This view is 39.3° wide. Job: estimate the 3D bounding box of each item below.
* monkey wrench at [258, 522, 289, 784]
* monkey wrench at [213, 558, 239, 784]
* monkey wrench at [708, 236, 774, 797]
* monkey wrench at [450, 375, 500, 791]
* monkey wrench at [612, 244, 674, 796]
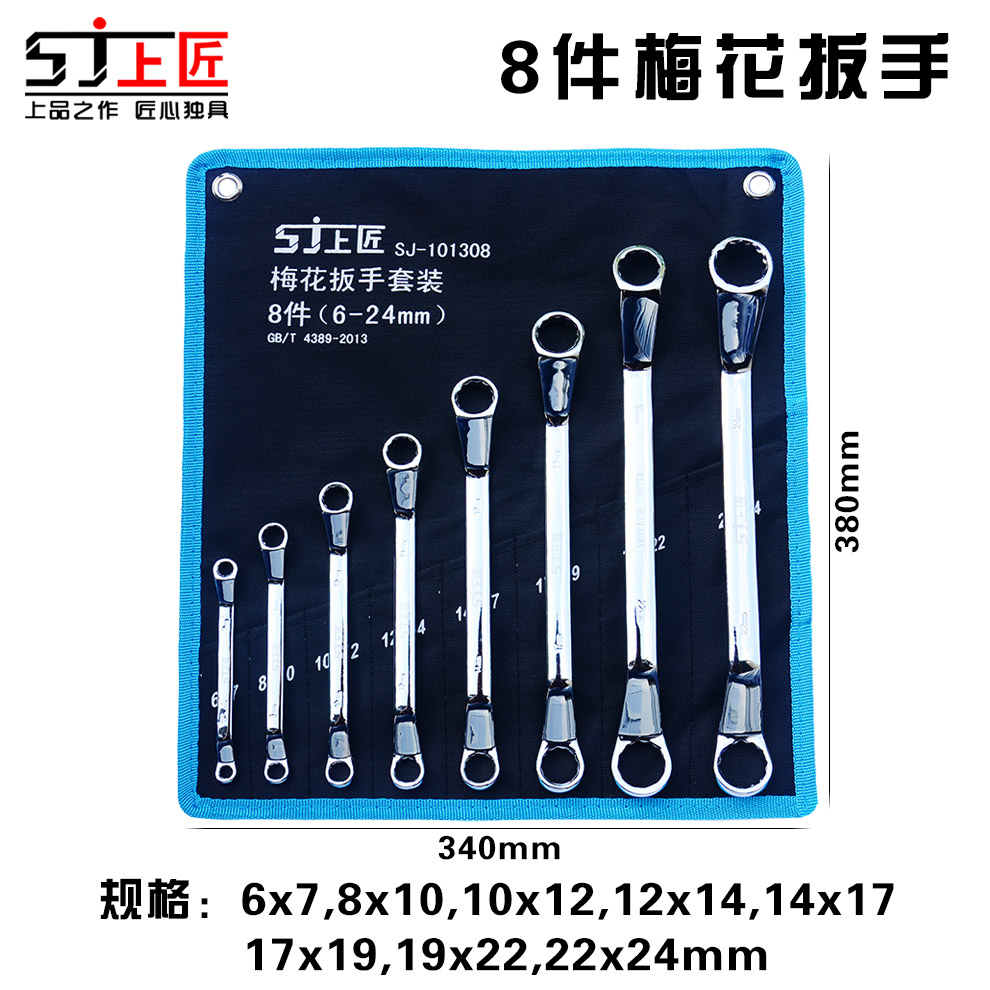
[{"bbox_3d":[-0.231,0.166,1.466,0.031,0.018,0.263,0,86,2],"label":"monkey wrench"},{"bbox_3d":[-0.284,0.184,1.469,0.028,0.010,0.228,0,87,4],"label":"monkey wrench"},{"bbox_3d":[0.256,0.016,1.446,0.072,0.035,0.536,-1,85,0],"label":"monkey wrench"},{"bbox_3d":[-0.026,0.088,1.420,0.050,0.027,0.413,1,87,-2],"label":"monkey wrench"},{"bbox_3d":[0.144,0.023,1.431,0.059,0.038,0.561,0,84,6],"label":"monkey wrench"}]
